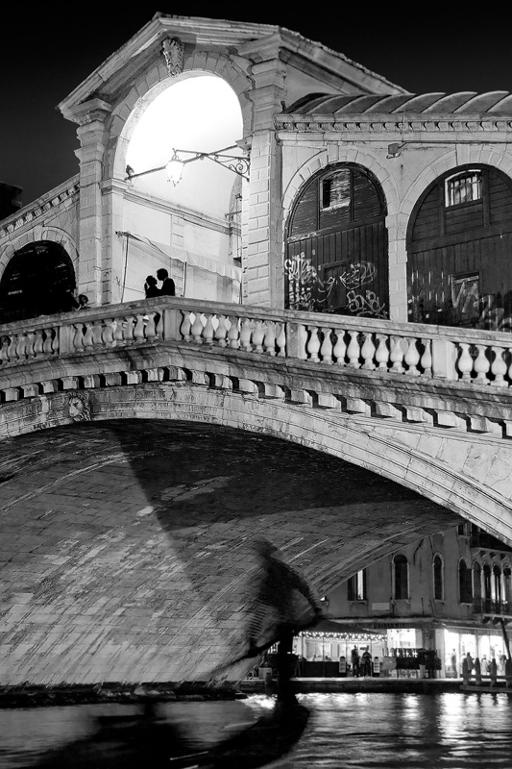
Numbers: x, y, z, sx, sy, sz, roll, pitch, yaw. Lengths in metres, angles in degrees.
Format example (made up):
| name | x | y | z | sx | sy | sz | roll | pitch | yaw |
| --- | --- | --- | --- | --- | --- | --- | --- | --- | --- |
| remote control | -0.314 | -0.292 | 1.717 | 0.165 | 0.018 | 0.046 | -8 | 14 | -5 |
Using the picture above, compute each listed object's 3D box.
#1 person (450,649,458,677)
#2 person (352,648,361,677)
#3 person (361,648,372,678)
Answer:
| name | x | y | z | sx | sy | sz | roll | pitch | yaw |
| --- | --- | --- | --- | --- | --- | --- | --- | --- | --- |
| person | 9.931 | 14.094 | 54.317 | 0.365 | 1.113 | 1.515 | -1 | -5 | 11 |
| person | 4.696 | 13.153 | 51.097 | 0.363 | 1.138 | 0.951 | 0 | -5 | 4 |
| person | 5.212 | 13.260 | 51.222 | 0.466 | 1.023 | 1.054 | 0 | -5 | 7 |
